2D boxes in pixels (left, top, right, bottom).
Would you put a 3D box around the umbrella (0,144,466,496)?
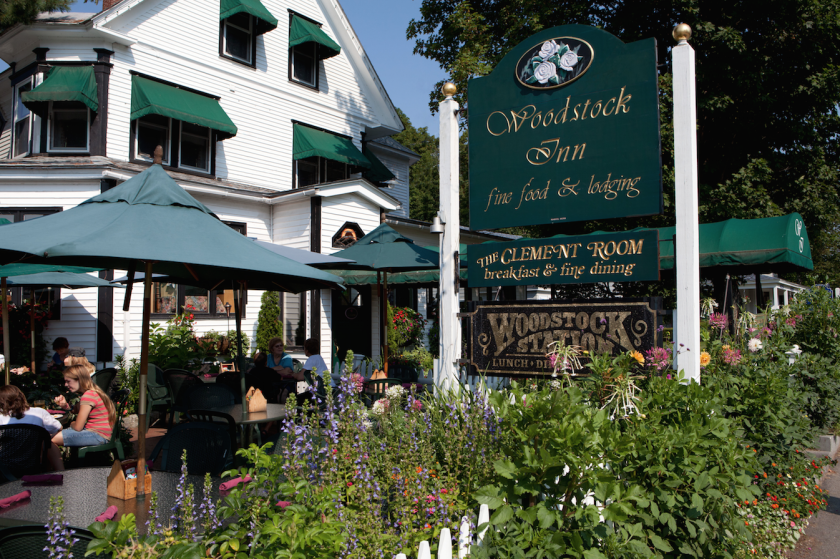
[{"bbox_3d":[-3.557,0.777,13.440,4.490,4.417,4.814,0,-1,4],"label":"umbrella"}]
